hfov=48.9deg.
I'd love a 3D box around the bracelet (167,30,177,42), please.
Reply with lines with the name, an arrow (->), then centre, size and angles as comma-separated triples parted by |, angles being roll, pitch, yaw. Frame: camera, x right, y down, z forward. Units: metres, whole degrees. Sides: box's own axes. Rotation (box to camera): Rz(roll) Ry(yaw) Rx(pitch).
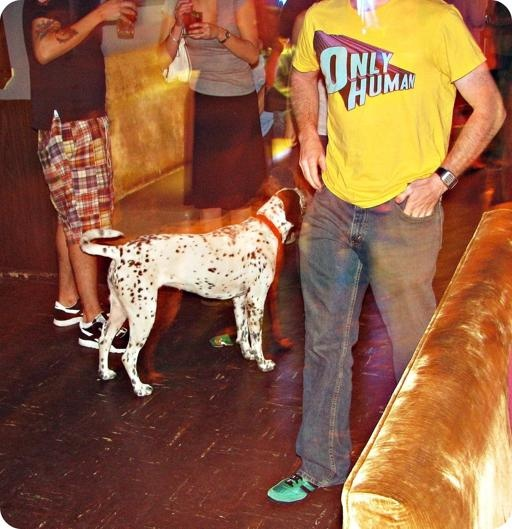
bracelet -> -0.588, -1.613, 3.962 | 0.028, 0.071, 0.098 | -11, 31, -21

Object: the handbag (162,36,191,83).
handbag -> -0.579, -1.506, 4.097 | 0.087, 0.210, 0.377 | 10, 60, -5

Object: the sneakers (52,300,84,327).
sneakers -> -1.396, 0.373, 4.219 | 0.123, 0.136, 0.327 | 5, 5, 19

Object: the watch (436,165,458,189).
watch -> 0.654, -0.306, 1.958 | 0.060, 0.038, 0.055 | 35, 5, -45

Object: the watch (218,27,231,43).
watch -> -0.212, -1.530, 3.766 | 0.082, 0.067, 0.035 | -4, -13, -4

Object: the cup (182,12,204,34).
cup -> -0.425, -1.607, 3.770 | 0.142, 0.146, 0.138 | 0, -6, 0

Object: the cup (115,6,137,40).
cup -> -0.840, -1.561, 3.684 | 0.122, 0.177, 0.315 | -4, 29, -11

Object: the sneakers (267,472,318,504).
sneakers -> 0.150, 0.929, 2.356 | 0.194, 0.072, 0.098 | -6, 18, -17
